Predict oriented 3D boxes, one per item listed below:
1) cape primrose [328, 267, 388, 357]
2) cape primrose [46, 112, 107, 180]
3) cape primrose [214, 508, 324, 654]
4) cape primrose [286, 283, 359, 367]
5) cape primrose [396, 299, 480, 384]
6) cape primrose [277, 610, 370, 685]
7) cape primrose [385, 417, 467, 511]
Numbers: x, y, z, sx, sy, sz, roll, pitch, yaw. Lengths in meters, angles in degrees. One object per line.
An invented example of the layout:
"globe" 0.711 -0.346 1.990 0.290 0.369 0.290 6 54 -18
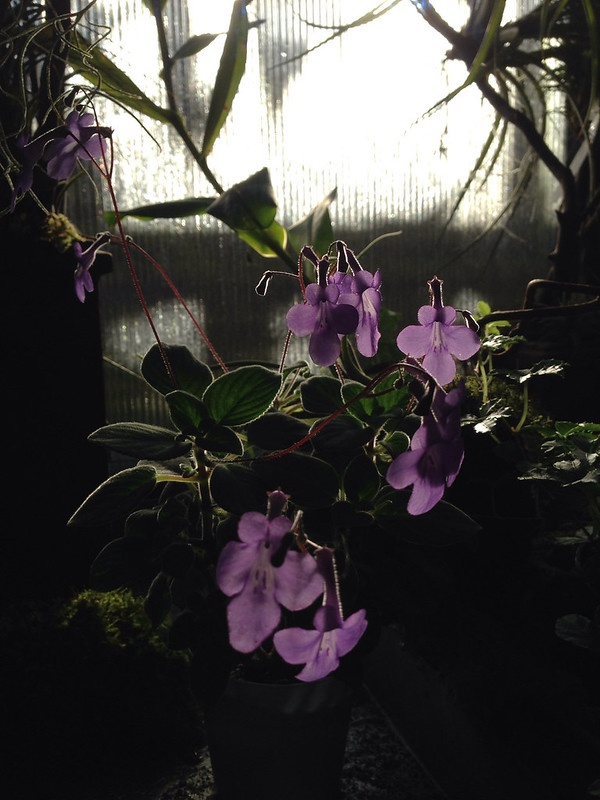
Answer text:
"cape primrose" 0.072 -0.105 0.934 0.033 0.090 0.090 -13 15 -20
"cape primrose" -0.270 -0.314 0.962 0.078 0.076 0.099 -1 14 -4
"cape primrose" -0.024 0.164 0.719 0.074 0.148 0.134 18 -28 -24
"cape primrose" 0.033 -0.091 0.904 0.085 0.102 0.033 -25 54 -16
"cape primrose" 0.159 -0.060 0.894 0.084 0.092 0.069 5 15 19
"cape primrose" 0.021 0.237 0.766 0.086 0.083 0.032 11 9 -27
"cape primrose" 0.125 0.073 0.777 0.088 0.085 0.028 -13 24 -20
